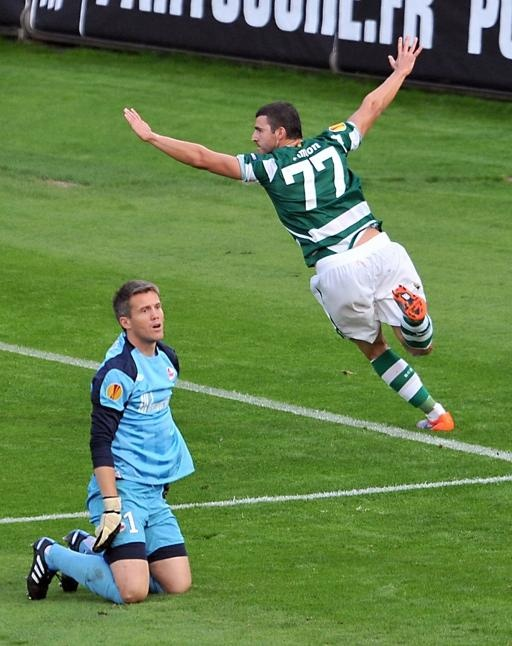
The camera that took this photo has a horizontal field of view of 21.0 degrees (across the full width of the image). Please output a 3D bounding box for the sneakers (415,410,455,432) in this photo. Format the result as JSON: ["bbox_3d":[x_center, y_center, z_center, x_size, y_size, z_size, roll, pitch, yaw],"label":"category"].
[{"bbox_3d":[1.063,0.588,8.214,0.216,0.114,0.099,5,6,27],"label":"sneakers"}]

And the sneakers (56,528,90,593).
[{"bbox_3d":[-0.853,1.110,6.532,0.117,0.304,0.142,5,11,45],"label":"sneakers"}]

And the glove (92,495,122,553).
[{"bbox_3d":[-0.650,0.903,6.191,0.145,0.225,0.094,9,-14,13],"label":"glove"}]

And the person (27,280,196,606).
[{"bbox_3d":[-0.557,0.548,6.377,0.663,1.448,0.708,9,6,24],"label":"person"}]

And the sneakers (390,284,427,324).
[{"bbox_3d":[0.842,-0.099,7.617,0.227,0.139,0.083,50,12,9],"label":"sneakers"}]

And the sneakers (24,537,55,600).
[{"bbox_3d":[-0.985,1.116,6.283,0.108,0.272,0.123,13,-2,-33],"label":"sneakers"}]

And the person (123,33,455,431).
[{"bbox_3d":[0.422,-0.435,8.053,1.679,2.048,0.938,7,5,7],"label":"person"}]
